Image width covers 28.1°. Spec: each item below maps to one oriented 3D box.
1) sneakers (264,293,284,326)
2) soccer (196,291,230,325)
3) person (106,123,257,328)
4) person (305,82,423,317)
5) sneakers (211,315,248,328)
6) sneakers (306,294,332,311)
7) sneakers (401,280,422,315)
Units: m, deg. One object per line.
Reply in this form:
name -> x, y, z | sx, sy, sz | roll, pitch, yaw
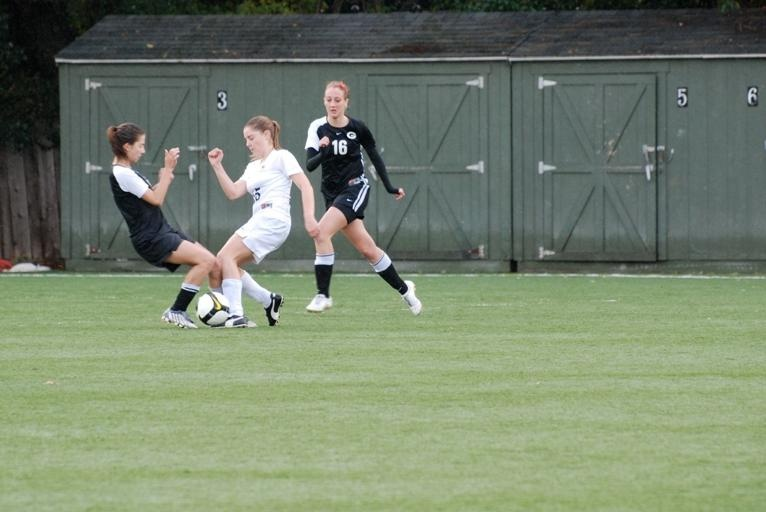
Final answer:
sneakers -> -1.030, 0.526, 14.838 | 0.181, 0.364, 0.132 | 0, 24, -5
soccer -> -1.646, 0.499, 14.817 | 0.371, 0.364, 0.351 | 12, -1, -3
person -> -2.095, -0.295, 14.732 | 0.965, 1.968, 0.768 | -3, 12, -10
person -> -0.270, -0.574, 15.343 | 0.995, 2.353, 0.845 | -1, 12, 1
sneakers -> -1.465, 0.636, 14.738 | 0.340, 0.143, 0.135 | 3, 2, 1
sneakers -> -0.609, 0.473, 15.343 | 0.125, 0.128, 0.282 | -1, -3, 17
sneakers -> 0.311, 0.433, 15.403 | 0.187, 0.390, 0.141 | -18, 2, -16
